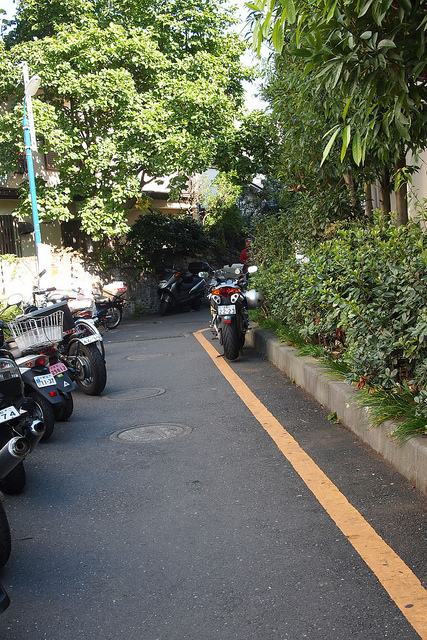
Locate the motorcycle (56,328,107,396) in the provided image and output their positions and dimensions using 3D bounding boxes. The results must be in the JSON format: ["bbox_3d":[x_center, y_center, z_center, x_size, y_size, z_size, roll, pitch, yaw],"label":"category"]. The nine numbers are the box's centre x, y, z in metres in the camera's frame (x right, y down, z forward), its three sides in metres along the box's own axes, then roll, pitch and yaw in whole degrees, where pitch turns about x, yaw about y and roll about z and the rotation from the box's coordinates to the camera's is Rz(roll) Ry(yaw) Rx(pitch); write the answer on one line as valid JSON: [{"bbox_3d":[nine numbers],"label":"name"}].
[{"bbox_3d":[-1.664,0.503,6.412,0.555,0.624,0.940,-10,21,-28],"label":"motorcycle"}]

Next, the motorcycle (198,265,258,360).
[{"bbox_3d":[0.314,-0.220,8.694,0.898,1.295,1.973,-1,8,2],"label":"motorcycle"}]

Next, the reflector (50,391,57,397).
[{"bbox_3d":[-1.512,0.701,4.571,0.040,0.010,0.037,5,37,-9],"label":"reflector"}]

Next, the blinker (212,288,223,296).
[{"bbox_3d":[0.074,-0.455,7.920,0.138,0.075,0.197,2,0,6],"label":"blinker"}]

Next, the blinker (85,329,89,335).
[{"bbox_3d":[-1.657,0.151,6.337,0.044,0.081,0.057,-3,-13,-13],"label":"blinker"}]

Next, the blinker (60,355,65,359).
[{"bbox_3d":[-1.841,0.448,5.918,0.055,0.061,0.103,-5,7,-20],"label":"blinker"}]

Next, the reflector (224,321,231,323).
[{"bbox_3d":[0.219,0.031,7.725,0.080,0.026,0.029,-4,2,-3],"label":"reflector"}]

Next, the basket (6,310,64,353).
[{"bbox_3d":[-1.870,0.106,5.083,0.408,0.382,0.564,-20,3,-31],"label":"basket"}]

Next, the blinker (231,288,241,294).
[{"bbox_3d":[0.355,-0.481,7.866,0.074,0.088,0.098,15,39,12],"label":"blinker"}]

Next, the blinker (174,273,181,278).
[{"bbox_3d":[-1.365,-1.681,18.102,0.073,0.146,0.301,-3,3,30],"label":"blinker"}]
